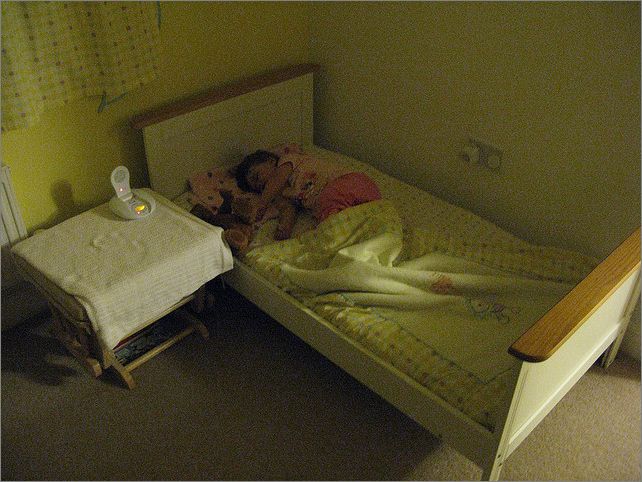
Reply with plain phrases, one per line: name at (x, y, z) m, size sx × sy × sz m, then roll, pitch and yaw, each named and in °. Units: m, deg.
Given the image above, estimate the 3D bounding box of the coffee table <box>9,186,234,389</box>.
coffee table at (-1.015, 0.275, 2.565) m, size 0.926 × 0.672 × 0.910 m, roll 37°, pitch 54°, yaw 24°

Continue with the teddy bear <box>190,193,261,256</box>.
teddy bear at (-0.476, -0.098, 2.529) m, size 0.317 × 0.097 × 0.316 m, roll -34°, pitch 69°, yaw -34°

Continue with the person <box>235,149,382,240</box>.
person at (-0.100, -0.285, 2.640) m, size 0.708 × 0.330 × 0.456 m, roll 7°, pitch 33°, yaw 22°
